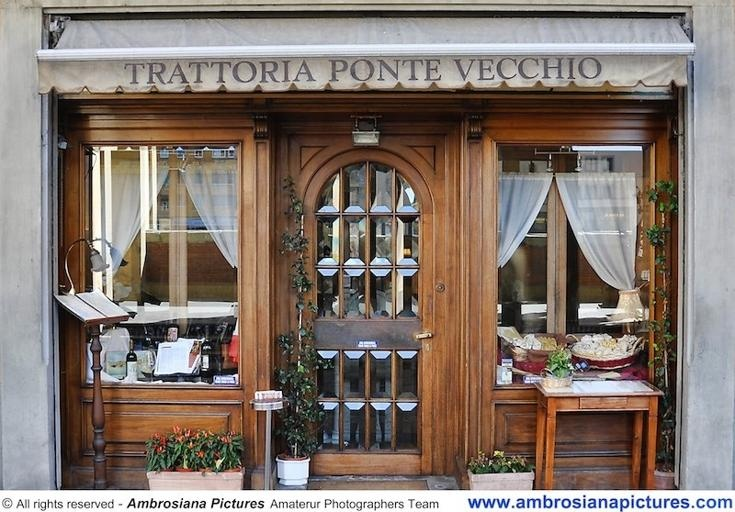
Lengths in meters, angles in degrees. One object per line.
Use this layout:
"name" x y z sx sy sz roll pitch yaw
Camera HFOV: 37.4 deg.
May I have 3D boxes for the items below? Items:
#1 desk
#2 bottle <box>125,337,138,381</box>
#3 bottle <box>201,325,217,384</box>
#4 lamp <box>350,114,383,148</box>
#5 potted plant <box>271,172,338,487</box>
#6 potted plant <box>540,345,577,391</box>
"desk" 2.220 1.859 9.963 1.118 1.076 0.747 -5 -40 21
"bottle" -2.267 1.004 10.411 0.116 0.393 0.040 1 -8 -11
"bottle" -1.517 0.930 10.365 0.187 0.447 0.250 -1 5 -8
"lamp" -0.004 -1.202 10.355 0.353 0.332 0.252 1 10 0
"potted plant" -0.620 0.719 10.450 0.555 2.952 0.466 0 -8 -4
"potted plant" 1.756 1.058 9.996 0.300 0.368 0.236 -2 -7 9
